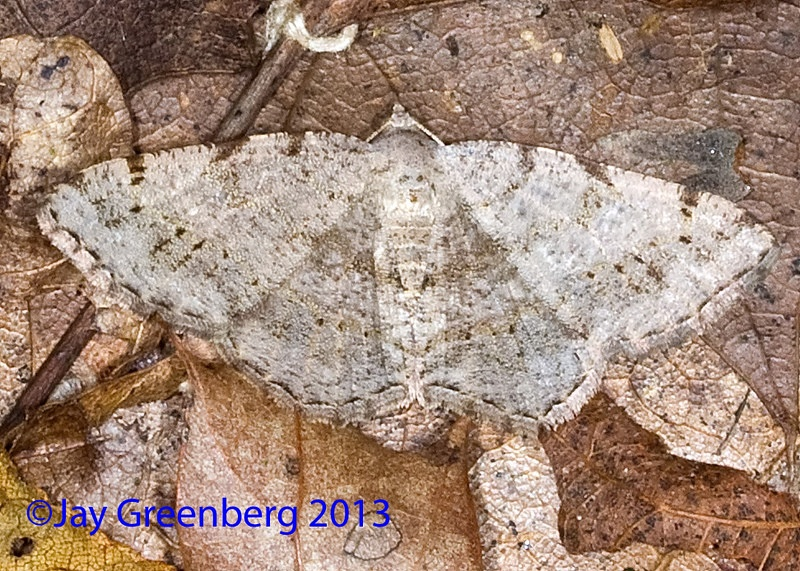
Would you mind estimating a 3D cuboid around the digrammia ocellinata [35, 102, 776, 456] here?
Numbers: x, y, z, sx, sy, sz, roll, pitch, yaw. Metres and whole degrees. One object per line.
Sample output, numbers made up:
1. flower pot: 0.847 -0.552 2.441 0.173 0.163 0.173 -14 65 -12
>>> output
1. digrammia ocellinata: -0.004 -0.073 3.966 1.996 0.176 1.020 5 95 -1
